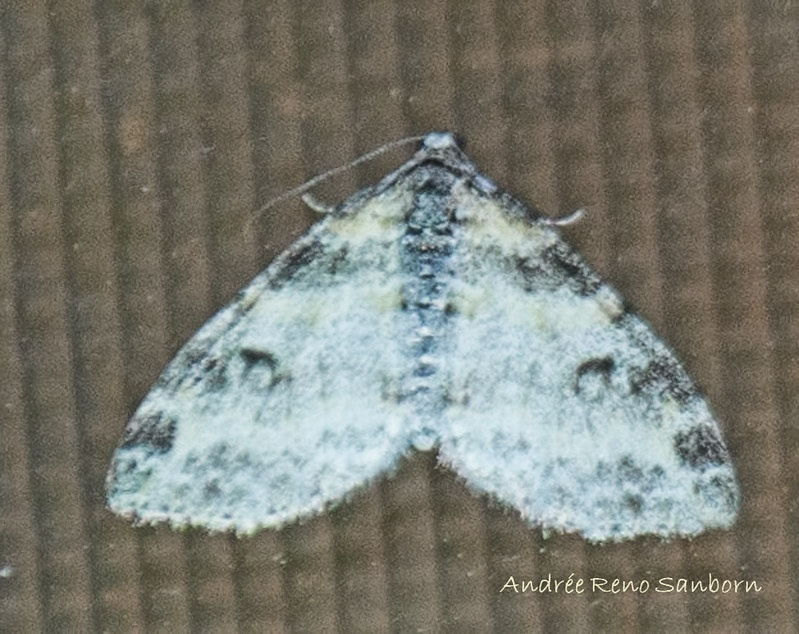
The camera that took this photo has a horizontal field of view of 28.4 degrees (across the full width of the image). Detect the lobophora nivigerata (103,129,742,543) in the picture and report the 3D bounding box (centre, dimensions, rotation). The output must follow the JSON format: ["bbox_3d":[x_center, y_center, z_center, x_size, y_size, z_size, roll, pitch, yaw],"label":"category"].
[{"bbox_3d":[0.108,0.195,6.072,2.099,0.242,1.578,4,90,3],"label":"lobophora nivigerata"}]
